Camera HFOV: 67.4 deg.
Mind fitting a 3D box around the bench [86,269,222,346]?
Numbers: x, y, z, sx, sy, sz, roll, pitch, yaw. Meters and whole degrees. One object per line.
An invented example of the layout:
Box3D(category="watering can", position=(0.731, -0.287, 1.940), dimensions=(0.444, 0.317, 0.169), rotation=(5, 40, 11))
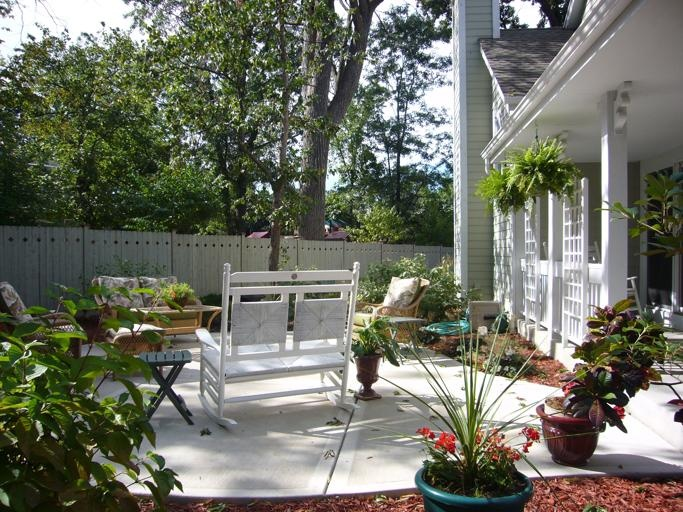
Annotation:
Box3D(category="bench", position=(-2.885, 0.837, 8.023), dimensions=(1.182, 0.994, 1.734), rotation=(0, -2, 42))

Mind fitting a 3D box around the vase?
Box3D(category="vase", position=(1.661, 1.301, 3.700), dimensions=(0.471, 0.335, 0.481), rotation=(-4, -10, 35))

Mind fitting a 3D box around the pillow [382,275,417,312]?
Box3D(category="pillow", position=(0.896, 0.583, 8.403), dimensions=(0.414, 0.730, 0.817), rotation=(6, -5, -29))

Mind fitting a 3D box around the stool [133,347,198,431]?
Box3D(category="stool", position=(-1.577, 1.167, 4.584), dimensions=(0.451, 0.522, 0.389), rotation=(-1, 1, -10))

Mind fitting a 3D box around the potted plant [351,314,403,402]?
Box3D(category="potted plant", position=(0.258, 1.035, 5.167), dimensions=(0.714, 0.728, 0.647), rotation=(0, -15, -2))

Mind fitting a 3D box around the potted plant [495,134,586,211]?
Box3D(category="potted plant", position=(2.369, -0.936, 6.308), dimensions=(0.940, 0.721, 0.958), rotation=(-1, 0, -31))

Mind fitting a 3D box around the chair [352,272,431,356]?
Box3D(category="chair", position=(0.718, 0.864, 8.210), dimensions=(1.253, 0.993, 1.063), rotation=(-3, 3, -42))

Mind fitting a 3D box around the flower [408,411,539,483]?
Box3D(category="flower", position=(0.723, 1.137, 2.874), dimensions=(0.579, 0.277, 0.585), rotation=(-18, 5, 2))

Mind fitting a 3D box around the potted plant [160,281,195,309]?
Box3D(category="potted plant", position=(-2.421, 0.569, 7.528), dimensions=(0.550, 0.380, 0.568), rotation=(-3, -5, 9))

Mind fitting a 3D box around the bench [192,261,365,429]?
Box3D(category="bench", position=(-0.630, 0.781, 4.915), dimensions=(1.455, 1.387, 1.181), rotation=(0, 3, -32))
